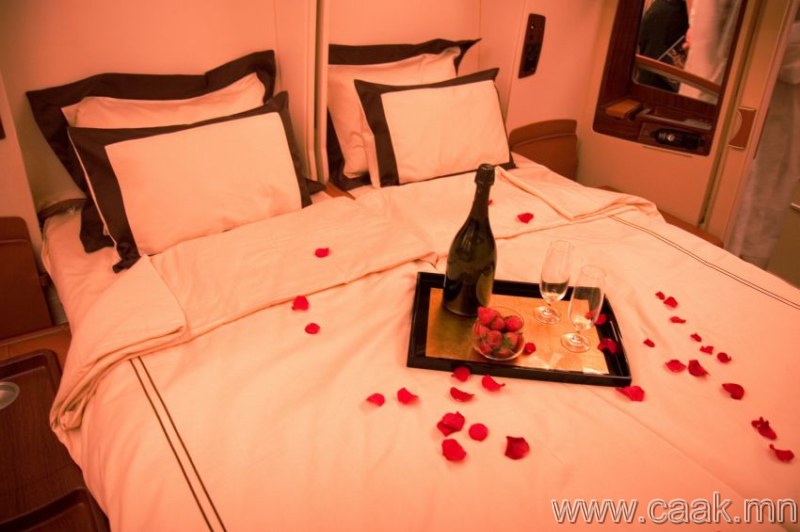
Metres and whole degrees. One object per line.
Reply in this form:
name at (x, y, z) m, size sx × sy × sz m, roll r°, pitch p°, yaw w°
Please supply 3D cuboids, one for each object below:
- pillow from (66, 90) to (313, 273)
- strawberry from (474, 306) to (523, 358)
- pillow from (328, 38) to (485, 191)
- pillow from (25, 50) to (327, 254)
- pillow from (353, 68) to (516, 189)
pillow at (-0.917, -0.433, 2.525) m, size 1.004 × 0.672 × 0.382 m, roll -20°, pitch 11°, yaw -29°
strawberry at (0.364, 0.227, 1.919) m, size 0.165 × 0.160 × 0.166 m, roll 12°, pitch 18°, yaw 23°
pillow at (-0.021, -0.906, 2.946) m, size 1.113 × 0.863 × 0.328 m, roll -7°, pitch 5°, yaw -31°
pillow at (-1.408, -0.475, 3.073) m, size 1.328 × 0.996 × 0.361 m, roll -20°, pitch 7°, yaw -30°
pillow at (0.237, -0.818, 3.044) m, size 0.887 × 0.599 × 0.284 m, roll -13°, pitch 5°, yaw -16°
